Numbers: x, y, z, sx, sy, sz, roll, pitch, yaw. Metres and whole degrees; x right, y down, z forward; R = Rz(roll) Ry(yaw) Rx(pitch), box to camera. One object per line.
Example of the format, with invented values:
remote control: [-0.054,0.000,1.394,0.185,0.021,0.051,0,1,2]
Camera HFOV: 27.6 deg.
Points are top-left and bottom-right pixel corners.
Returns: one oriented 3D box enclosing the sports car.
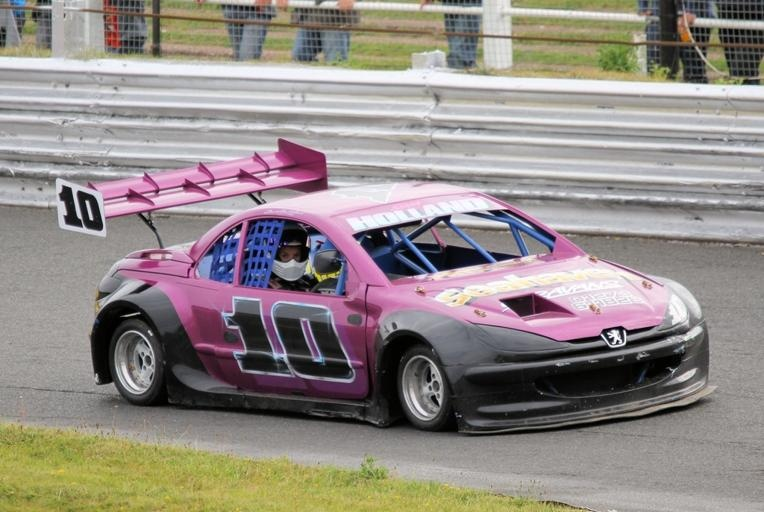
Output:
sports car: [-0.036,0.249,15.630,5.378,1.671,3.152,1,7,37]

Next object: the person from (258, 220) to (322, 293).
person: [-1.056,-0.076,16.169,0.587,0.574,0.724,-2,8,-31]
